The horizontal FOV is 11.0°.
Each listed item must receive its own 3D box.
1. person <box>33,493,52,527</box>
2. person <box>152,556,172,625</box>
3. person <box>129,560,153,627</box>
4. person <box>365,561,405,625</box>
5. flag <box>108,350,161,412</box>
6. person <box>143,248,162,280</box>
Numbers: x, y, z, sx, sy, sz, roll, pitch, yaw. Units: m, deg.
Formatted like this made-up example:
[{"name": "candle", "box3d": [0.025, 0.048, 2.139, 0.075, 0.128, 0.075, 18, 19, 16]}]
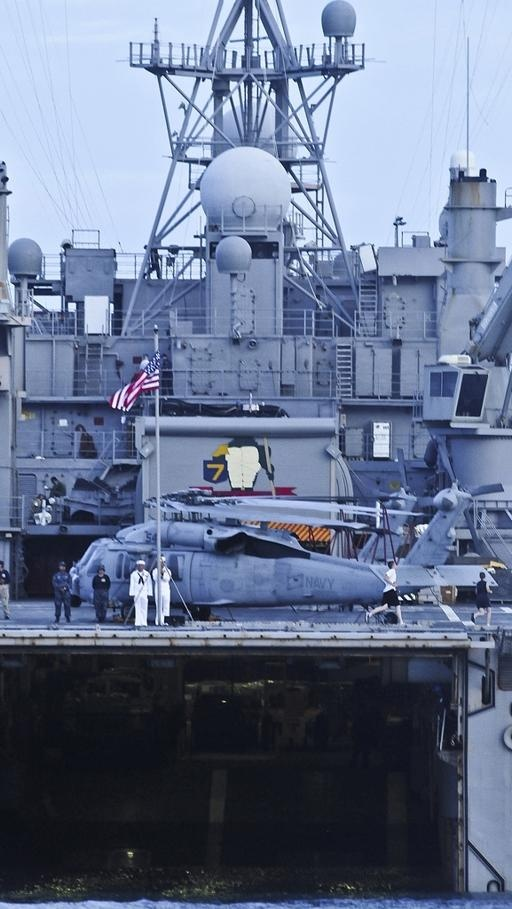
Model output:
[{"name": "person", "box3d": [-6.988, 1.761, 85.998, 0.434, 1.056, 0.271, 3, -7, -23]}, {"name": "person", "box3d": [-2.595, 3.618, 71.471, 0.464, 1.492, 2.217, 1, -1, -3]}, {"name": "person", "box3d": [-3.115, 3.664, 71.176, 0.622, 1.453, 1.499, 1, -1, -3]}, {"name": "person", "box3d": [3.453, 3.591, 71.182, 0.874, 1.304, 2.414, 2, -1, 3]}, {"name": "flag", "box3d": [-3.469, -2.110, 78.016, 1.237, 0.444, 3.464, -4, 27, 19]}, {"name": "person", "box3d": [-3.725, -6.821, 94.698, 0.573, 0.910, 1.669, 2, -1, -3]}]
